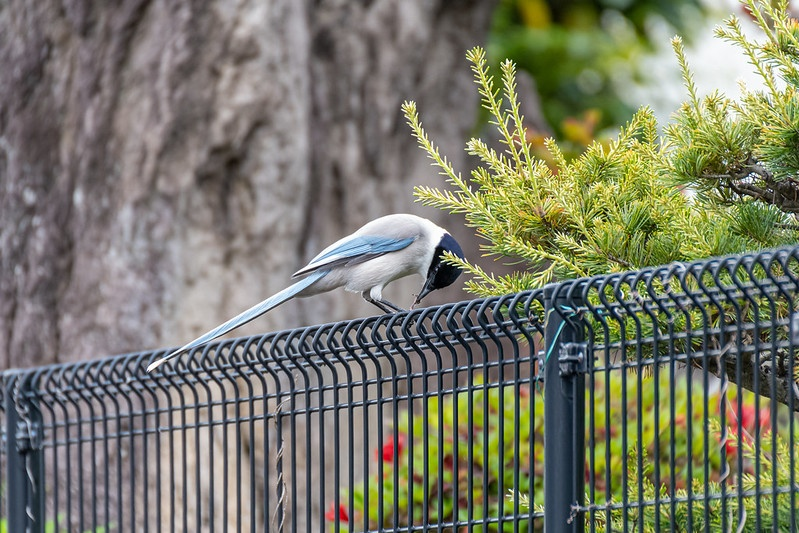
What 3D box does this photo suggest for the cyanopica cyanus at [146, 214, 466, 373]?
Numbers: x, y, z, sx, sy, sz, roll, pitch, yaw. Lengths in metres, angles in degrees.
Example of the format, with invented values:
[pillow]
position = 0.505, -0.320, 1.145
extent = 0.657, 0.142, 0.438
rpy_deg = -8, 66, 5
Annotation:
[cyanopica cyanus]
position = -0.711, 0.184, 16.898
extent = 2.557, 1.044, 0.627
rpy_deg = -6, -21, 1
